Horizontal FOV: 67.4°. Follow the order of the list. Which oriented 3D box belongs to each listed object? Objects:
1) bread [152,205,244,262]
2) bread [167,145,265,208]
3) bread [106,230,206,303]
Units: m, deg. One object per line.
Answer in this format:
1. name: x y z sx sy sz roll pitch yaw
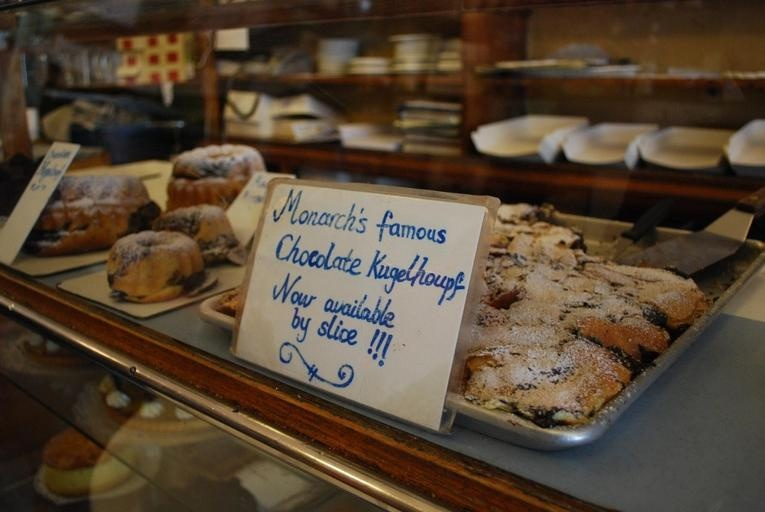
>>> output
1. bread: -0.407 -0.025 1.278 0.176 0.066 0.130 20 22 12
2. bread: -0.398 -0.190 1.354 0.174 0.103 0.170 -1 6 -1
3. bread: -0.454 0.014 1.195 0.148 0.085 0.165 25 35 37
